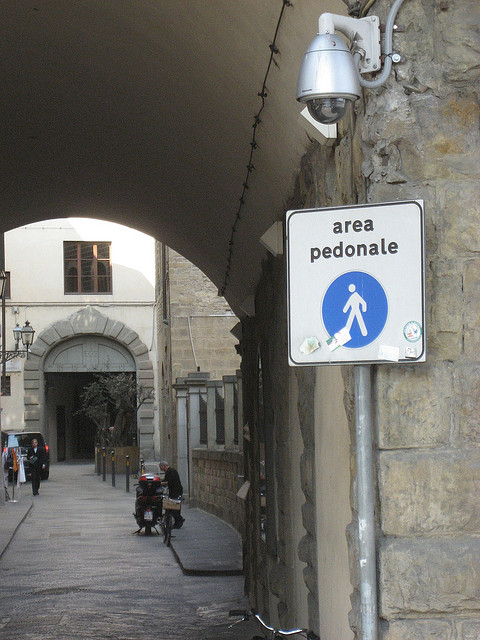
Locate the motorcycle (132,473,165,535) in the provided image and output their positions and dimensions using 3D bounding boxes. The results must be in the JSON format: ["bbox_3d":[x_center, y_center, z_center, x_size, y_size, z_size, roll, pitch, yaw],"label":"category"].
[{"bbox_3d":[-1.398,2.556,18.572,0.407,0.975,1.413,6,10,-4],"label":"motorcycle"}]
